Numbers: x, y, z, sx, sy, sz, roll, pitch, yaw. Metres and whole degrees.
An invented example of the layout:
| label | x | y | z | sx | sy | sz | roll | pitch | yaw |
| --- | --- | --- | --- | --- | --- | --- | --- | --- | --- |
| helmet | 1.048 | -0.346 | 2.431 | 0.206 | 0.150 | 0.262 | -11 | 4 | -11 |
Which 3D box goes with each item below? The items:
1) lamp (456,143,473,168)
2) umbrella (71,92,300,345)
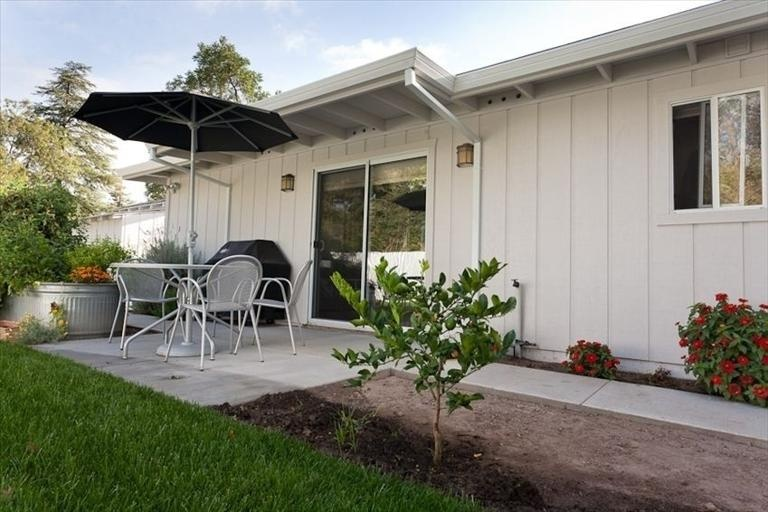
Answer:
| label | x | y | z | sx | sy | sz | roll | pitch | yaw |
| --- | --- | --- | --- | --- | --- | --- | --- | --- | --- |
| lamp | 1.010 | -1.259 | 6.390 | 0.276 | 0.283 | 0.255 | 2 | -9 | -11 |
| umbrella | -2.331 | -0.508 | 5.949 | 2.465 | 2.683 | 2.457 | 4 | 6 | 30 |
